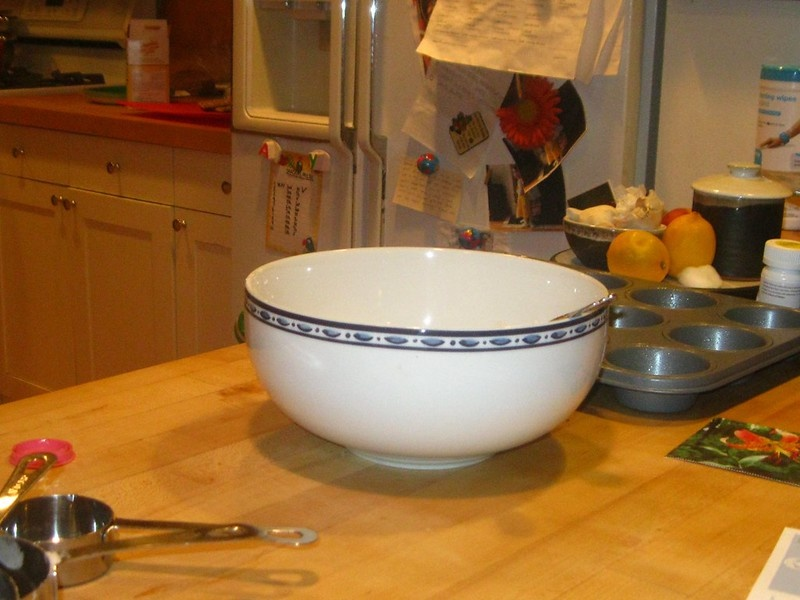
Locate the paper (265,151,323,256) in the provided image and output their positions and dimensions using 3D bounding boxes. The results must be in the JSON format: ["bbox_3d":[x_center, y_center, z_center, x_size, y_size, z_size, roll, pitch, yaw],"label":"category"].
[{"bbox_3d":[-0.291,-0.259,1.912,0.205,0.280,0.060,10,18,37],"label":"paper"}]

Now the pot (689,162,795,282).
[{"bbox_3d":[0.618,-0.154,1.298,0.220,0.211,0.224,0,12,0],"label":"pot"}]

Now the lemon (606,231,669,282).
[{"bbox_3d":[0.401,-0.070,1.227,0.108,0.089,0.095,21,9,11],"label":"lemon"}]

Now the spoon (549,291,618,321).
[{"bbox_3d":[0.184,0.006,0.720,0.089,0.019,0.015,-15,10,-34],"label":"spoon"}]

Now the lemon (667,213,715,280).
[{"bbox_3d":[0.512,-0.095,1.246,0.088,0.113,0.092,5,14,21],"label":"lemon"}]

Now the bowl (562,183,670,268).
[{"bbox_3d":[0.459,-0.146,1.397,0.245,0.156,0.214,-3,12,-18],"label":"bowl"}]

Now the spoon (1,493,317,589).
[{"bbox_3d":[-0.172,0.176,0.536,0.251,0.030,0.086,4,1,4],"label":"spoon"}]
